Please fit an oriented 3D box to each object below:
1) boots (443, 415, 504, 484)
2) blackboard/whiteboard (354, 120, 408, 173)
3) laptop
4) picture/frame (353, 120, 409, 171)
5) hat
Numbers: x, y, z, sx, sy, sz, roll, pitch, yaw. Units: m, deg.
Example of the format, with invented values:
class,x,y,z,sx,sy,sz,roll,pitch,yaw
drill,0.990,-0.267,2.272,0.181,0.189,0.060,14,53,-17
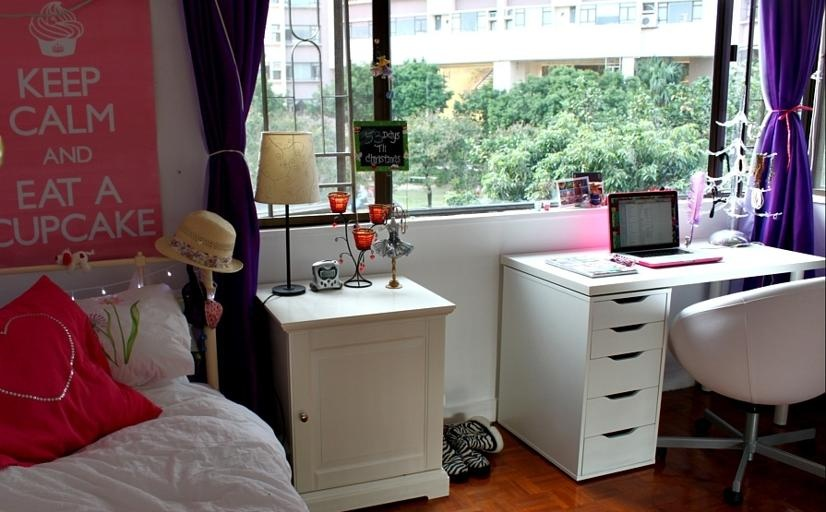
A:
class,x,y,z,sx,sy,sz,roll,pitch,yaw
boots,0.316,1.094,3.389,0.235,0.110,0.323,-22,27,-25
blackboard/whiteboard,-0.173,-0.598,3.245,0.270,0.230,0.029,-2,11,-4
laptop,1.418,-0.185,3.509,0.632,0.441,0.472,-4,10,-22
picture/frame,-0.173,-0.598,3.246,0.276,0.237,0.029,-1,11,-4
hat,-0.990,-0.070,2.857,0.348,0.143,0.285,23,10,3
